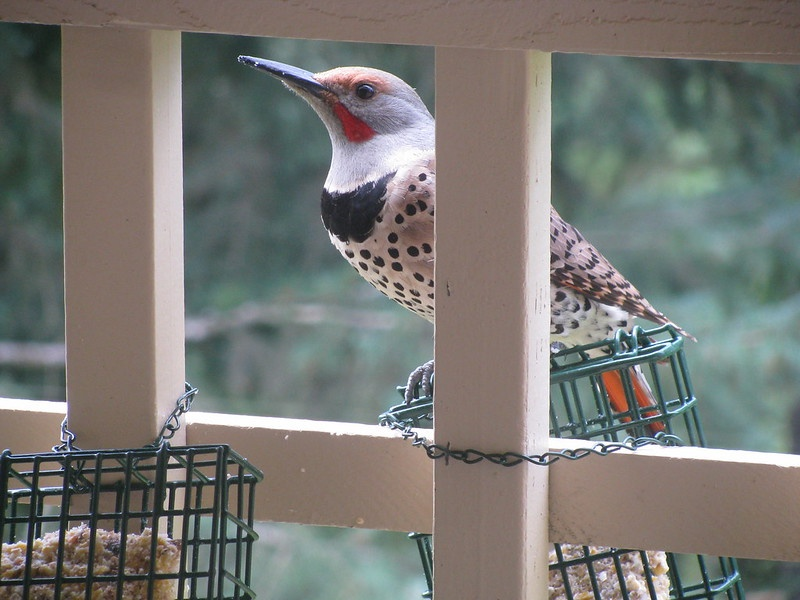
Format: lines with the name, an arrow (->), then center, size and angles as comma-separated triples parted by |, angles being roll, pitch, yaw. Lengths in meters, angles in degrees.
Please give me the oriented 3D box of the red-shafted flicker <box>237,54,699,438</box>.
red-shafted flicker -> 0.314, -0.246, 5.509 | 1.512, 1.117, 0.530 | -3, 2, -28
